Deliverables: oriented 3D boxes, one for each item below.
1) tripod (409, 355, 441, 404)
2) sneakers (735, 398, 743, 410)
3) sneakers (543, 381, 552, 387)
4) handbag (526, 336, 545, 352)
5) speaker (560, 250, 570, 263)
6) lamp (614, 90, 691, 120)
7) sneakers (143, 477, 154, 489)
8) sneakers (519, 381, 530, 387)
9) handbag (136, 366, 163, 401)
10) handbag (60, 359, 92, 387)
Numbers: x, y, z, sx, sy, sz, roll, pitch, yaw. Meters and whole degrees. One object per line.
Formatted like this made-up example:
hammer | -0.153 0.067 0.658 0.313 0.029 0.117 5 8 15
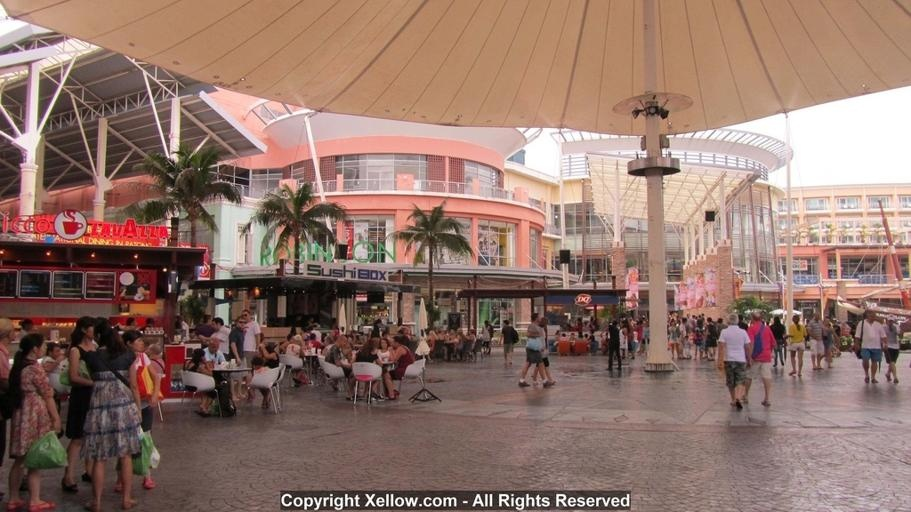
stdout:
tripod | -1.164 4.248 23.049 1.479 1.715 1.454 1 -7 -3
sneakers | 8.356 4.346 19.869 0.143 0.369 0.146 -7 38 30
sneakers | 3.368 4.678 24.785 0.396 0.157 0.129 -16 -6 32
handbag | 2.890 3.150 24.323 0.552 0.496 0.286 -6 -20 31
speaker | 8.387 -0.006 51.673 0.660 1.033 1.754 -1 -6 3
lamp | 7.603 -5.866 26.084 1.679 0.439 1.597 -1 -6 8
sneakers | -6.521 4.768 14.233 0.175 0.112 0.302 2 -4 -32
sneakers | 2.527 4.680 24.809 0.493 0.197 0.164 1 -1 -6
handbag | -6.735 2.736 14.649 0.464 0.770 0.673 2 -7 -25
handbag | -8.018 2.415 14.050 0.971 0.472 0.328 -6 -8 41
